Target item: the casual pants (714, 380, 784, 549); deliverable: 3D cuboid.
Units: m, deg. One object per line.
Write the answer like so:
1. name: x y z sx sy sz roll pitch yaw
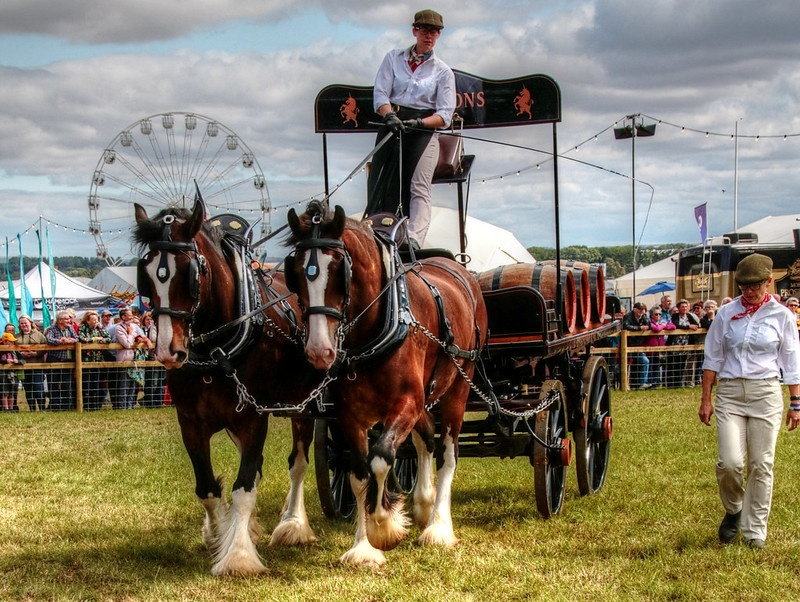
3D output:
1. casual pants: 3.458 1.567 13.755 0.645 1.550 0.752 2 15 12

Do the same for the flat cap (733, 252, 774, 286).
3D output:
1. flat cap: 3.550 -0.296 13.847 0.336 0.338 0.223 2 15 12

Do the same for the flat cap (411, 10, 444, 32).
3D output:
1. flat cap: 0.320 -3.074 15.164 0.281 0.200 0.222 -3 14 -8

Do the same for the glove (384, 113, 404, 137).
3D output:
1. glove: -0.065 -1.900 14.892 0.182 0.241 0.310 -6 14 -18

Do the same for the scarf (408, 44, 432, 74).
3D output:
1. scarf: 0.226 -2.705 15.406 0.250 0.298 0.188 6 14 11

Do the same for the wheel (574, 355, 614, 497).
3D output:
1. wheel: 2.181 1.454 15.592 0.437 1.445 1.578 -4 -5 18

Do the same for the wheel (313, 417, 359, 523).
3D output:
1. wheel: -0.728 1.829 14.927 0.286 0.927 1.054 -1 -11 12

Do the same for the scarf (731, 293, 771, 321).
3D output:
1. scarf: 3.538 0.084 13.947 0.371 0.101 0.237 -24 -31 -8

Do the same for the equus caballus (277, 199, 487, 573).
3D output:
1. equus caballus: -0.031 0.708 13.844 1.307 3.505 2.274 7 17 29

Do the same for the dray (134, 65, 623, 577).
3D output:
1. dray: -1.117 0.281 15.290 3.916 5.039 6.516 -4 -5 25
